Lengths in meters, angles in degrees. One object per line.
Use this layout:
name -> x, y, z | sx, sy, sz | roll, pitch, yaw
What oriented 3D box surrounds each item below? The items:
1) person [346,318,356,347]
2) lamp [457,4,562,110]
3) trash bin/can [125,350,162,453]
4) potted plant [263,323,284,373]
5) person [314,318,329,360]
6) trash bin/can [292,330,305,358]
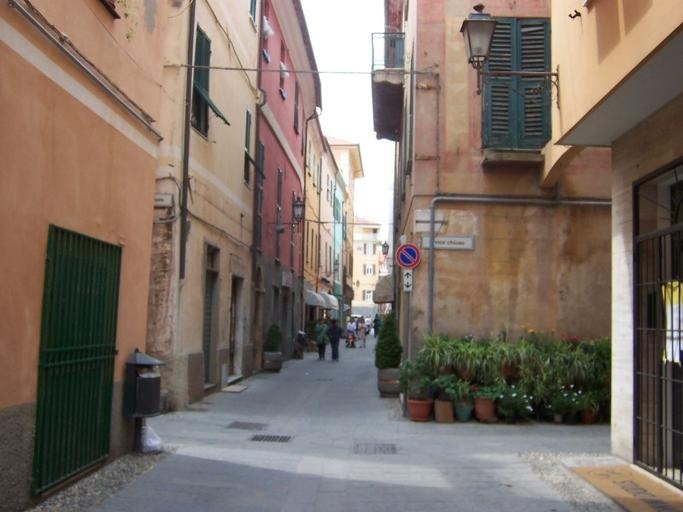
person -> 0.544, 4.413, 38.540 | 0.405, 1.337, 1.319 | 1, -3, -4
lamp -> 3.126, -3.577, 12.634 | 2.326, 2.430, 0.838 | 0, 3, 0
trash bin/can -> -2.642, 1.944, 9.251 | 0.459, 1.386, 0.553 | 1, -3, 1
potted plant -> -2.141, 2.825, 21.281 | 0.545, 1.460, 0.710 | 1, -3, -6
person -> -0.786, 3.337, 27.781 | 0.479, 1.722, 0.501 | -2, -27, -1
trash bin/can -> -1.743, 3.643, 28.233 | 0.399, 1.018, 1.296 | 1, -4, -5
